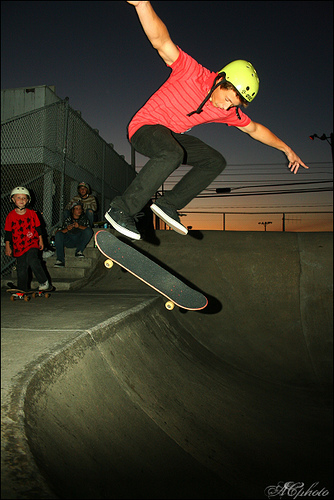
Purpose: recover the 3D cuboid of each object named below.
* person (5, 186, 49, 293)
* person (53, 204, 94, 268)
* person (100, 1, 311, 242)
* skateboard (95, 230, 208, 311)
[{"bbox_3d":[-1.686,-0.136,4.903,0.506,1.218,0.491,0,3,5],"label":"person"},{"bbox_3d":[-1.493,-0.256,6.725,0.606,0.976,0.710,-1,3,-12],"label":"person"},{"bbox_3d":[0.353,-0.782,3.080,1.505,1.382,1.035,-2,3,-20],"label":"person"},{"bbox_3d":[-0.167,0.262,5.155,1.471,0.399,0.205,37,-46,-16],"label":"skateboard"}]
